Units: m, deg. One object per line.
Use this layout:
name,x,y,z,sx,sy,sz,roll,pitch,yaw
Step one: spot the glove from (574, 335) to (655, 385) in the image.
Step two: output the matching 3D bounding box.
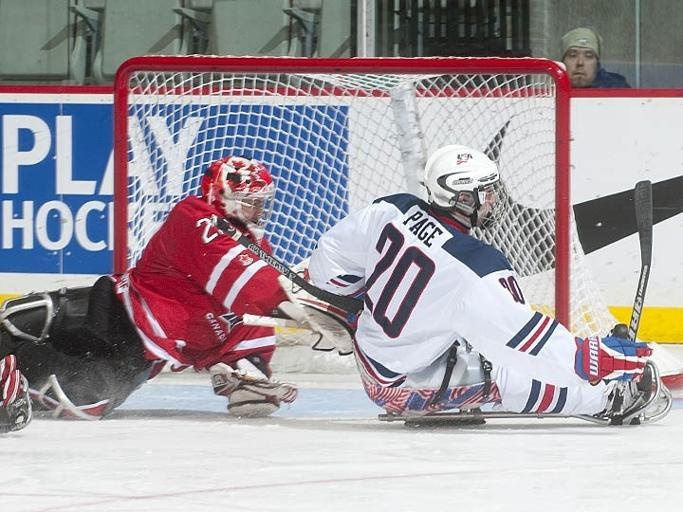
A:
glove,1.015,0.388,4.387,0.292,0.154,0.118,-4,11,-24

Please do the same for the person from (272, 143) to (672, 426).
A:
person,0.658,0.142,4.706,1.502,0.786,1.089,17,16,37

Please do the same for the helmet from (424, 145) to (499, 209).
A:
helmet,0.438,-0.315,4.570,0.345,0.220,0.240,-6,13,-7

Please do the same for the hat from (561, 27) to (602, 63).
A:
hat,1.227,-1.086,5.923,0.167,0.126,0.186,9,20,5
